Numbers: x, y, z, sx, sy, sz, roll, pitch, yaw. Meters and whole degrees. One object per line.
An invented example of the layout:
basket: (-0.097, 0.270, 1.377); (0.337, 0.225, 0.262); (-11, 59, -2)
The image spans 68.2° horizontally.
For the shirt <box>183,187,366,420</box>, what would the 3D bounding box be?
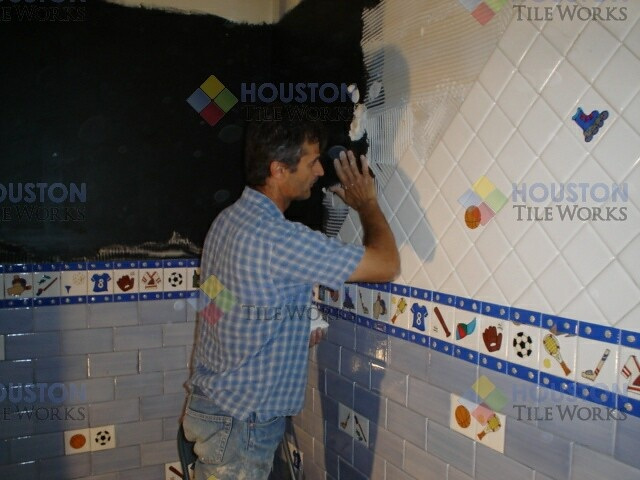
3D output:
shirt: (-0.233, 0.249, 1.906); (0.522, 0.960, 0.764); (-3, 16, -29)
